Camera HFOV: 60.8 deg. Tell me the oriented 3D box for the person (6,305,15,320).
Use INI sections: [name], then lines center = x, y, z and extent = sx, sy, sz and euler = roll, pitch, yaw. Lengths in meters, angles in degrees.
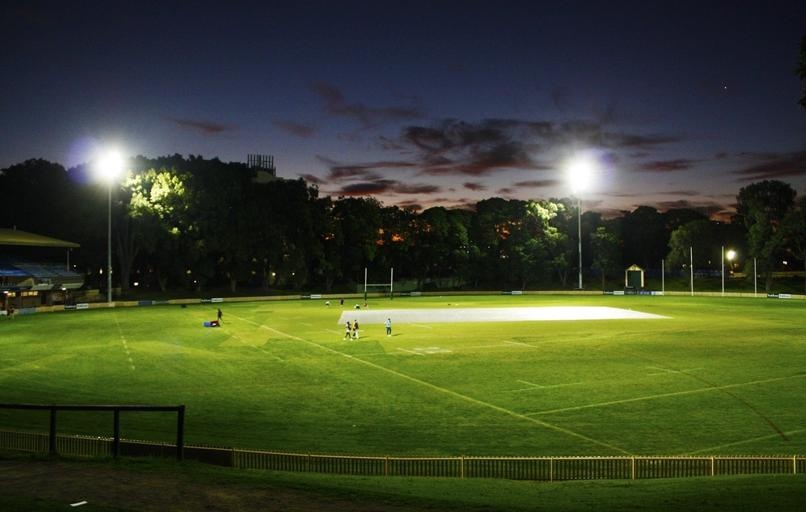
[person]
center = -40.130, 5.769, 70.193
extent = 0.511, 1.372, 1.384
euler = -7, 16, -37
